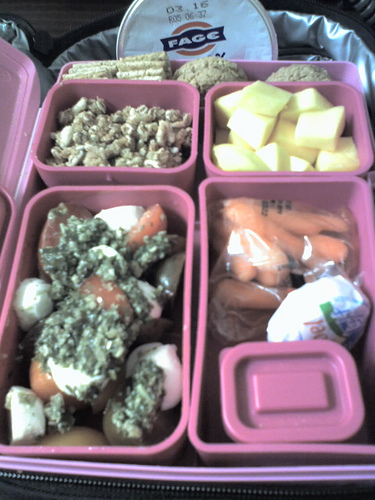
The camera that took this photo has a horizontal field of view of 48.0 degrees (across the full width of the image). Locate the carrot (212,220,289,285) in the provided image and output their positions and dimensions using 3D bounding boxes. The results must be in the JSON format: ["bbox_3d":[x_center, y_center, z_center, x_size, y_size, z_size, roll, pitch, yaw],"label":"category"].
[{"bbox_3d":[0.152,0.000,1.016,0.176,0.071,0.093,35,91,24],"label":"carrot"}]

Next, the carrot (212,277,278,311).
[{"bbox_3d":[0.125,0.103,0.936,0.114,0.062,0.043,17,41,-5],"label":"carrot"}]

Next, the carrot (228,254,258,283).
[{"bbox_3d":[0.123,0.039,0.947,0.048,0.025,0.064,-35,80,14],"label":"carrot"}]

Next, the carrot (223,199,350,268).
[{"bbox_3d":[0.226,-0.048,1.017,0.266,0.085,0.151,17,56,4],"label":"carrot"}]

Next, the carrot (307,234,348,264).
[{"bbox_3d":[0.324,-0.008,0.975,0.096,0.016,0.058,24,69,13],"label":"carrot"}]

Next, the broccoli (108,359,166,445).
[{"bbox_3d":[-0.090,0.276,0.796,0.094,0.045,0.144,5,80,27],"label":"broccoli"}]

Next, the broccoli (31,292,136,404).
[{"bbox_3d":[-0.186,0.192,0.849,0.193,0.065,0.196,34,85,15],"label":"broccoli"}]

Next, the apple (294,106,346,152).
[{"bbox_3d":[0.333,-0.295,1.061,0.122,0.049,0.116,10,90,24],"label":"apple"}]

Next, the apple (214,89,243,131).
[{"bbox_3d":[0.114,-0.390,1.172,0.082,0.073,0.081,2,56,5],"label":"apple"}]

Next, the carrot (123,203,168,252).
[{"bbox_3d":[-0.095,-0.043,0.989,0.040,0.100,0.098,42,53,-9],"label":"carrot"}]

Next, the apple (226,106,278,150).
[{"bbox_3d":[0.162,-0.314,1.126,0.111,0.084,0.113,28,22,-16],"label":"apple"}]
